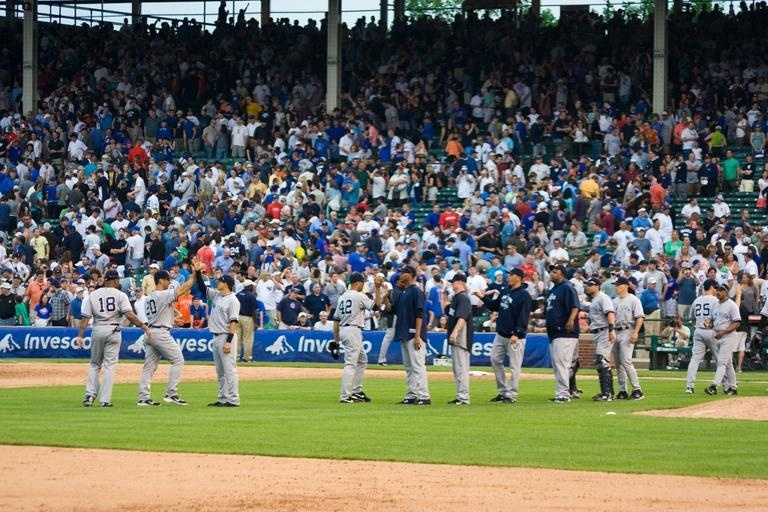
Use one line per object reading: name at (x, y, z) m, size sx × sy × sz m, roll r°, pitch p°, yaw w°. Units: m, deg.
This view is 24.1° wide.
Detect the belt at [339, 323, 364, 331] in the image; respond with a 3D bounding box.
belt at (-0.893, 1.988, 50.671) m, size 0.624 × 0.182 × 0.235 m, roll 0°, pitch 1°, yaw -18°

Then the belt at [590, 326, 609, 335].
belt at (6.216, 2.121, 51.485) m, size 0.565 × 0.215 × 0.148 m, roll 1°, pitch 1°, yaw 39°

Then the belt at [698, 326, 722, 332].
belt at (9.457, 2.126, 51.955) m, size 0.684 × 0.120 × 0.157 m, roll 1°, pitch 1°, yaw 42°

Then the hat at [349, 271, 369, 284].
hat at (-0.713, 0.629, 50.517) m, size 0.391 × 0.399 × 0.296 m, roll -17°, pitch 15°, yaw -29°

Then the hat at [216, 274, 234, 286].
hat at (-4.362, 0.711, 50.327) m, size 0.459 × 0.348 × 0.305 m, roll 0°, pitch 1°, yaw -29°

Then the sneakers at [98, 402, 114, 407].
sneakers at (-7.694, 4.144, 49.973) m, size 0.362 × 0.174 × 0.127 m, roll 1°, pitch 0°, yaw -3°

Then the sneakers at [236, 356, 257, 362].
sneakers at (-4.536, 3.418, 59.275) m, size 0.554 × 0.259 × 0.197 m, roll -1°, pitch 0°, yaw 6°

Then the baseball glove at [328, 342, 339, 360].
baseball glove at (-1.398, 2.842, 51.214) m, size 0.217 × 0.715 × 0.290 m, roll -2°, pitch 10°, yaw -6°

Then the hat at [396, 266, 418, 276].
hat at (0.701, 0.389, 50.748) m, size 0.378 × 0.204 × 0.265 m, roll 26°, pitch 3°, yaw -5°

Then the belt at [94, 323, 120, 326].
belt at (-7.695, 1.887, 50.137) m, size 0.646 × 0.131 × 0.094 m, roll 0°, pitch 1°, yaw -15°

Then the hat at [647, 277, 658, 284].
hat at (8.702, 0.794, 58.390) m, size 0.181 × 0.131 × 0.240 m, roll -4°, pitch -8°, yaw -24°

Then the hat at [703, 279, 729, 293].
hat at (9.587, 0.870, 51.996) m, size 0.550 × 0.291 × 0.369 m, roll 7°, pitch 0°, yaw 1°

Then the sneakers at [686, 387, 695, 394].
sneakers at (8.865, 3.913, 52.048) m, size 0.162 × 0.255 × 0.250 m, roll -6°, pitch -14°, yaw 36°

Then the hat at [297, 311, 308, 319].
hat at (-2.687, 1.970, 60.061) m, size 0.304 × 0.174 × 0.258 m, roll 0°, pitch 1°, yaw 13°

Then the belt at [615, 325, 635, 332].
belt at (6.915, 2.076, 51.479) m, size 0.553 × 0.241 × 0.074 m, roll 0°, pitch 1°, yaw 6°

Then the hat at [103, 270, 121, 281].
hat at (-7.584, 0.522, 50.235) m, size 0.326 × 0.281 × 0.264 m, roll -24°, pitch 31°, yaw -34°

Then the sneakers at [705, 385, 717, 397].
sneakers at (9.421, 3.904, 51.642) m, size 0.295 × 0.240 × 0.102 m, roll 31°, pitch -21°, yaw 9°

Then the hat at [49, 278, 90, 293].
hat at (-10.730, 1.017, 61.403) m, size 1.300 × 0.478 × 0.683 m, roll 0°, pitch 1°, yaw -3°

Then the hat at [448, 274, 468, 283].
hat at (2.138, 0.628, 50.709) m, size 0.360 × 0.202 × 0.243 m, roll 14°, pitch 1°, yaw 3°

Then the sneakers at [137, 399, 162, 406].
sneakers at (-6.544, 4.128, 50.139) m, size 0.619 × 0.242 × 0.288 m, roll -1°, pitch -25°, yaw -13°
